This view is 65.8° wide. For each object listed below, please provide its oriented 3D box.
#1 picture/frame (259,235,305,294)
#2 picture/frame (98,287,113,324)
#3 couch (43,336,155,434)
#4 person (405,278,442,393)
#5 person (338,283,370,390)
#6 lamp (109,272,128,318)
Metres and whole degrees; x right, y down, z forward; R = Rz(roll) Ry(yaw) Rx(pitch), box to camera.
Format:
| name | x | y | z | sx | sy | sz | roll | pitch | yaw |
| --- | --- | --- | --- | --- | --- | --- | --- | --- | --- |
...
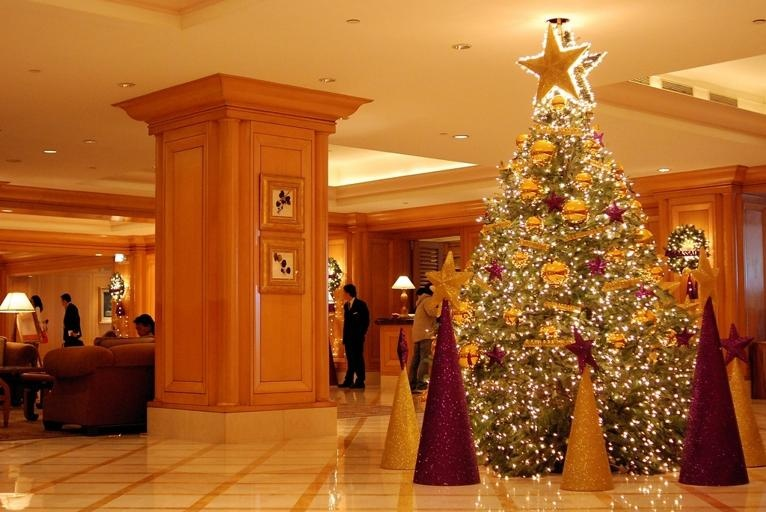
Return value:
| name | x | y | z | sx | sy | sz | roll | pitch | yaw |
| --- | --- | --- | --- | --- | --- | --- | --- | --- | --- |
| picture/frame | -1.146 | 0.101 | 6.572 | 0.695 | 0.710 | 0.060 | 3 | -6 | -36 |
| picture/frame | -11.230 | 1.988 | 24.212 | 0.780 | 1.270 | 0.063 | -3 | -4 | 22 |
| couch | -3.463 | 1.657 | 7.516 | 0.909 | 0.990 | 1.464 | -5 | -12 | 24 |
| person | 0.754 | 1.595 | 11.281 | 0.513 | 2.085 | 1.273 | 0 | -5 | -3 |
| person | -0.661 | 1.804 | 13.460 | 0.627 | 2.324 | 0.830 | 0 | -5 | -3 |
| lamp | -8.760 | 1.229 | 19.530 | 0.585 | 1.528 | 0.542 | -17 | -18 | 12 |
